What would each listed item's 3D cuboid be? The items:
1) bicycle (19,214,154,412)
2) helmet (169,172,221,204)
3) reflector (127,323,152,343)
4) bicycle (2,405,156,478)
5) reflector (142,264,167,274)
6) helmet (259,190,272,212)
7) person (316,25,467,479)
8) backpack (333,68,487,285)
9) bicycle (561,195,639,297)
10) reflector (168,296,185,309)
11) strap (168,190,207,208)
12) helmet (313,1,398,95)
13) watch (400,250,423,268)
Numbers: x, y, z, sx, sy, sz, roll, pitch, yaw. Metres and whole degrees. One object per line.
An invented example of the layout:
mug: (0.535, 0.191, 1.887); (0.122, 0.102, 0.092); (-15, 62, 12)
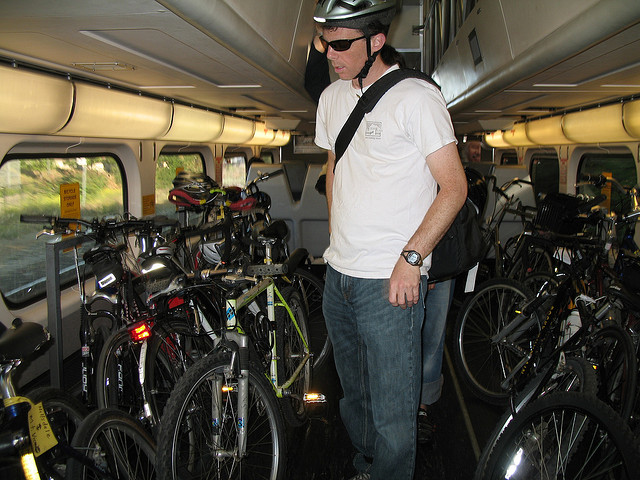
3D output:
bicycle: (-1.680, 0.391, 3.786); (0.830, 1.179, 1.682); (-3, 3, 3)
helmet: (-1.193, -0.535, 4.493); (0.586, 0.251, 0.465); (15, 19, 26)
reflector: (-1.088, 0.560, 2.756); (0.115, 0.102, 0.048); (-7, 28, -9)
bicycle: (-1.201, 1.063, 2.327); (0.612, 0.179, 0.638); (11, -4, 35)
reflector: (-1.039, 0.180, 2.870); (0.135, 0.051, 0.022); (-1, 6, -18)
helmet: (-0.581, -0.433, 5.046); (0.137, 0.234, 0.074); (0, 6, 38)
person: (0.377, 0.289, 2.643); (0.782, 2.784, 0.878); (2, 6, 13)
backpack: (0.653, -0.214, 2.760); (0.433, 0.927, 0.550); (-5, -4, -17)
bicycle: (2.274, 0.016, 3.667); (0.402, 0.741, 0.938); (3, 7, 17)
reflector: (-0.951, 0.411, 3.025); (0.022, 0.075, 0.146); (4, 8, 30)
strap: (-1.270, -0.380, 4.321); (0.227, 0.093, 0.181); (6, 0, -14)
helmet: (0.170, -0.981, 2.323); (0.406, 0.459, 0.232); (1, 6, -3)
watch: (0.428, 0.081, 2.160); (0.078, 0.067, 0.079); (23, 5, 18)
